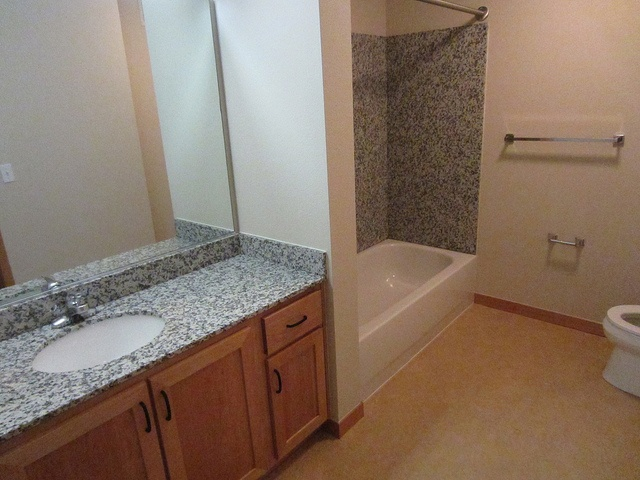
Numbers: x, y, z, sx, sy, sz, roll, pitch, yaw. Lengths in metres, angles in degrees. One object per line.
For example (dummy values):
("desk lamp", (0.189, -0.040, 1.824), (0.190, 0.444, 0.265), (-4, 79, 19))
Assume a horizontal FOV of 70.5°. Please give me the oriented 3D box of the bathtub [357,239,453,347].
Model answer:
("bathtub", (0.597, 0.277, 3.761), (0.831, 0.371, 0.565), (-8, 23, -27))
